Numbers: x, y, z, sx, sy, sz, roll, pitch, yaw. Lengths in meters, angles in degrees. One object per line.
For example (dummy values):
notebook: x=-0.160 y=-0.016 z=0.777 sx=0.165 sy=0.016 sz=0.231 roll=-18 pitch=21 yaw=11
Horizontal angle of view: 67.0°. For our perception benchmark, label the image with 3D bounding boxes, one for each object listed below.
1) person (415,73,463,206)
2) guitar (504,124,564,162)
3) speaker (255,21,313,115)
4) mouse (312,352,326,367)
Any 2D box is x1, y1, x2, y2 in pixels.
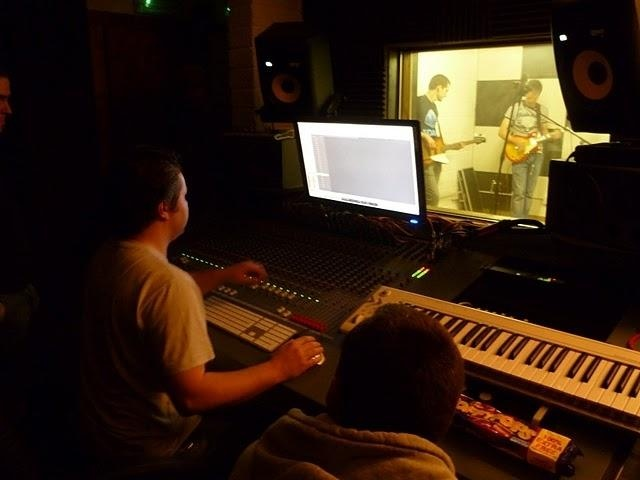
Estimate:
person: x=1.284 y=-1.173 z=5.201 sx=0.633 sy=1.652 sz=0.184 roll=12 pitch=39 yaw=36
guitar: x=2.283 y=-1.000 z=5.174 sx=0.542 sy=0.391 sz=0.165 roll=9 pitch=18 yaw=20
speaker: x=-0.190 y=-1.033 z=2.994 sx=0.360 sy=0.531 sz=0.360 roll=12 pitch=39 yaw=30
mouse: x=0.002 y=0.408 z=1.659 sx=0.029 sy=0.016 sz=0.043 roll=19 pitch=32 yaw=16
